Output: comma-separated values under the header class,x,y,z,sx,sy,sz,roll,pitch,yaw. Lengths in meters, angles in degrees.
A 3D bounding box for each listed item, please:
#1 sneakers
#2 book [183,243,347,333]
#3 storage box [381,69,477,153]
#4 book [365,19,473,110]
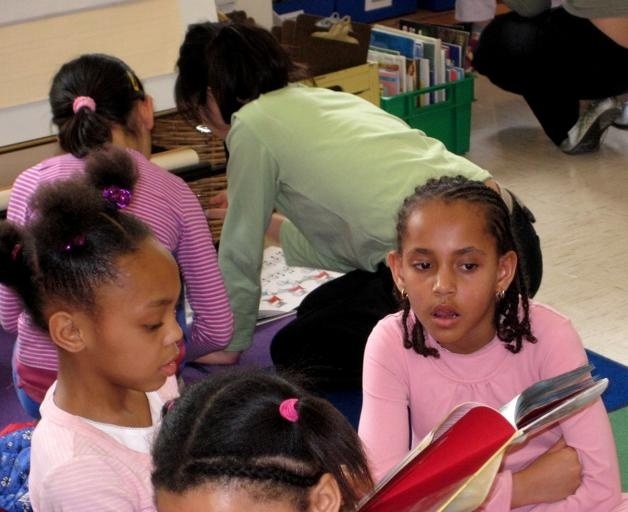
class,x,y,z,sx,sy,sz,roll,pitch,yaw
sneakers,1.508,-0.706,3.237,0.437,0.158,0.182,-46,17,-5
book,-0.117,0.083,2.016,0.328,0.078,0.296,-25,39,-19
storage box,0.582,-0.776,3.341,0.564,0.376,0.401,-18,34,-19
book,0.525,-1.020,3.123,0.538,0.179,0.413,-22,34,-34
